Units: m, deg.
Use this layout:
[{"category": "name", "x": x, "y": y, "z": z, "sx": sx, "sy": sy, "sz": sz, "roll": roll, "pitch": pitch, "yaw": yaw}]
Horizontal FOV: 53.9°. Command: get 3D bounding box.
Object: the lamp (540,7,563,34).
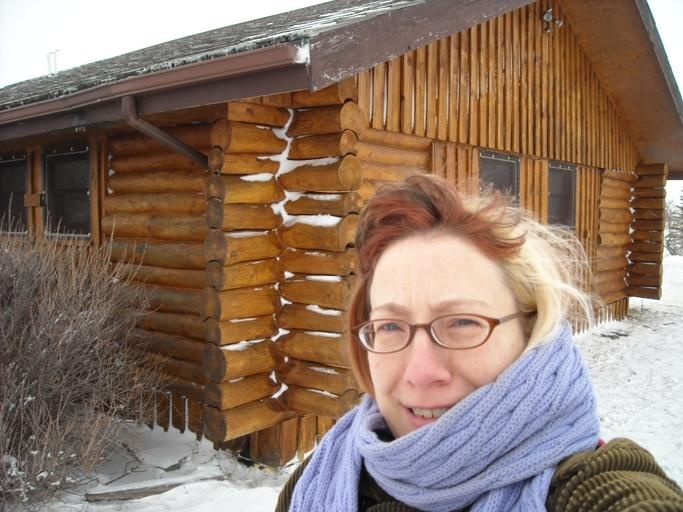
[{"category": "lamp", "x": 3.400, "y": -3.816, "z": 10.917, "sx": 0.363, "sy": 0.534, "sz": 0.192, "roll": -1, "pitch": 8, "yaw": -2}]
